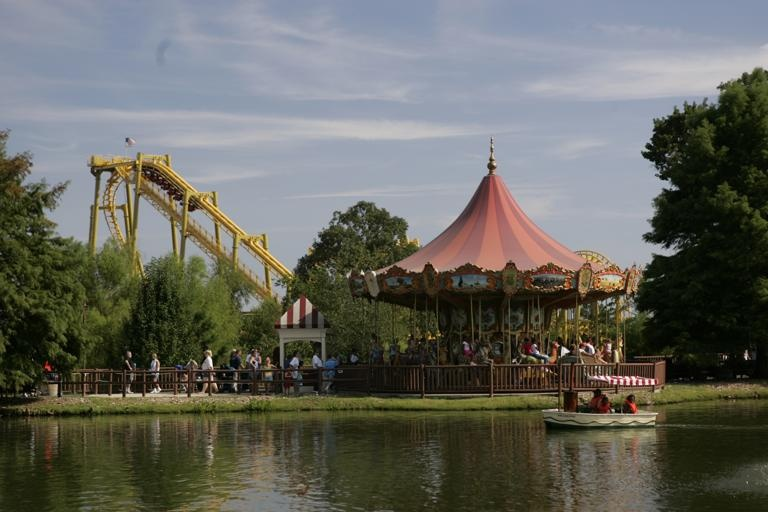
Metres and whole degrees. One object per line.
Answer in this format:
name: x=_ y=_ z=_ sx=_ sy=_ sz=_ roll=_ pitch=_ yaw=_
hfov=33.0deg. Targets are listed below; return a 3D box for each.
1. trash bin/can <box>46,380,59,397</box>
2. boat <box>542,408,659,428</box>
trash bin/can: x=-15.545 y=6.279 z=60.490 sx=0.600 sy=0.681 sz=0.603 roll=0 pitch=-1 yaw=27
boat: x=8.366 y=6.450 z=50.509 sx=4.190 sy=0.706 sz=1.516 roll=2 pitch=-10 yaw=-7
